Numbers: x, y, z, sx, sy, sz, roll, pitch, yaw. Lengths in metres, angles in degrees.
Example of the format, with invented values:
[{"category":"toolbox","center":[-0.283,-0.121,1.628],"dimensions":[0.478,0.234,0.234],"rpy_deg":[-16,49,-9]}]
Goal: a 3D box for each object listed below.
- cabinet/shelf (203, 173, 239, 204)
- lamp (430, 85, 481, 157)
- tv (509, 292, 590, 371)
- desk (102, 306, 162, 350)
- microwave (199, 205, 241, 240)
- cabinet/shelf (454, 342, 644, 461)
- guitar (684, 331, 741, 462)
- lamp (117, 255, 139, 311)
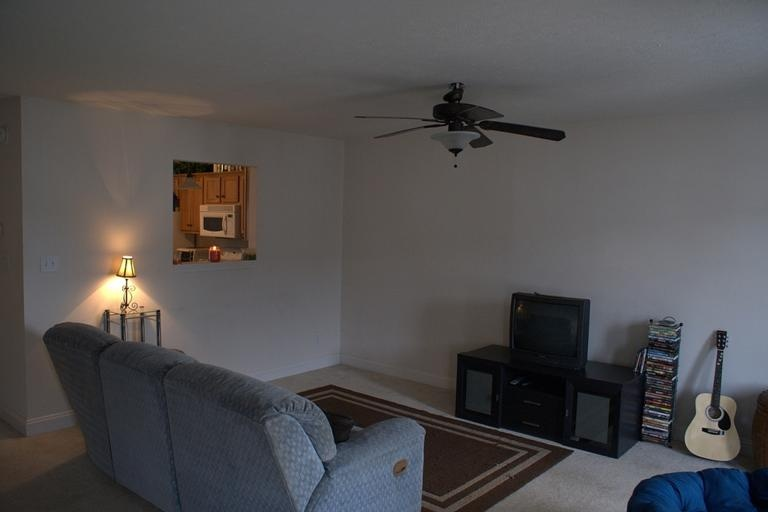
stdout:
[{"category":"cabinet/shelf","center":[-2.427,-1.013,8.422],"dimensions":[0.161,0.462,0.893],"rpy_deg":[-12,17,-42]},{"category":"lamp","center":[0.580,-1.089,4.517],"dimensions":[0.377,0.573,0.645],"rpy_deg":[3,12,8]},{"category":"tv","center":[1.530,0.724,5.275],"dimensions":[0.702,0.628,0.391],"rpy_deg":[5,2,34]},{"category":"desk","center":[-2.351,0.784,5.490],"dimensions":[0.413,0.541,0.421],"rpy_deg":[-9,-5,41]},{"category":"microwave","center":[-2.384,-0.510,8.492],"dimensions":[0.785,0.471,0.402],"rpy_deg":[5,5,37]},{"category":"cabinet/shelf","center":[1.538,1.372,5.442],"dimensions":[1.578,0.628,0.622],"rpy_deg":[4,0,38]},{"category":"guitar","center":[2.890,1.212,4.888],"dimensions":[0.395,1.066,0.471],"rpy_deg":[10,16,35]},{"category":"lamp","center":[-2.471,0.269,5.455],"dimensions":[0.179,0.531,0.235],"rpy_deg":[-6,15,-25]}]
